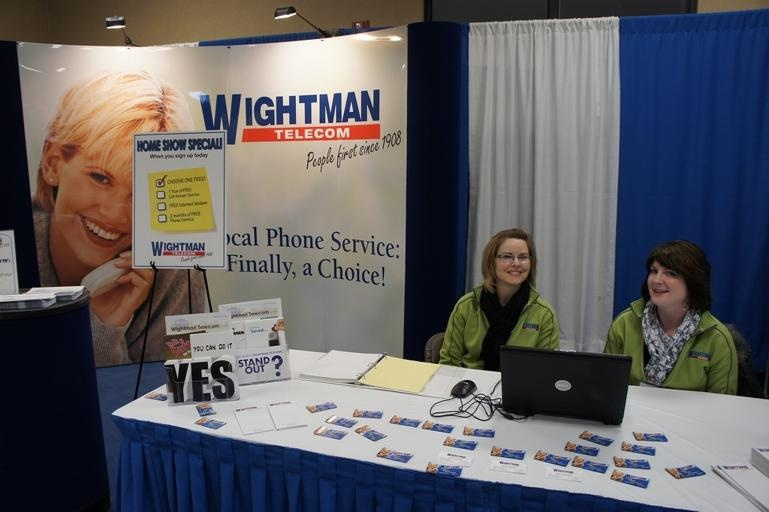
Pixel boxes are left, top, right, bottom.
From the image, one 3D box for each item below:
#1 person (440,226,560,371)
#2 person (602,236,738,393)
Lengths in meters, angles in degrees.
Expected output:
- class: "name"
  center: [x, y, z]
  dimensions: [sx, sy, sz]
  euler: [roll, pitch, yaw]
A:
- class: "person"
  center: [0.801, 0.373, 3.854]
  dimensions: [0.724, 1.150, 0.674]
  euler: [6, 11, 12]
- class: "person"
  center: [1.932, 0.371, 3.718]
  dimensions: [0.458, 0.912, 0.715]
  euler: [27, -20, -19]
